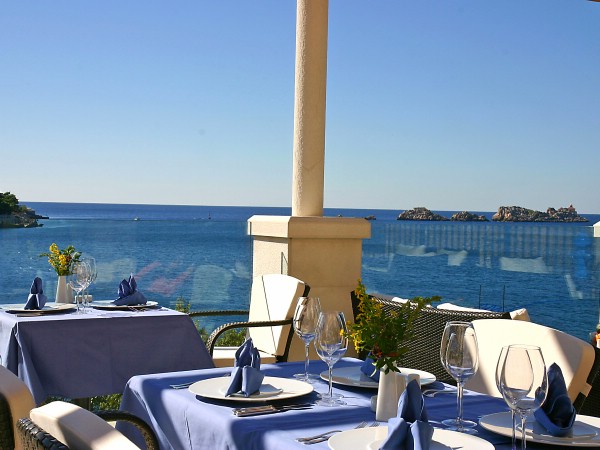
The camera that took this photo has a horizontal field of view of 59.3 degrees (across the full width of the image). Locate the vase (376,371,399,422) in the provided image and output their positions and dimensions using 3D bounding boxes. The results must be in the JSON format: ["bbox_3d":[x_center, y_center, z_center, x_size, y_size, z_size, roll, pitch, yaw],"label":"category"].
[{"bbox_3d":[0.236,0.458,1.441,0.064,0.135,0.071,-1,2,9],"label":"vase"}]

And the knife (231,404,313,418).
[{"bbox_3d":[-0.092,0.516,1.468,0.259,0.028,0.069,-3,1,13],"label":"knife"}]

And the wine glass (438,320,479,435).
[{"bbox_3d":[0.440,0.403,1.462,0.096,0.277,0.267,-1,1,16],"label":"wine glass"}]

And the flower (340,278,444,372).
[{"bbox_3d":[0.213,0.298,1.463,0.202,0.252,0.221,0,-5,-17],"label":"flower"}]

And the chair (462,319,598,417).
[{"bbox_3d":[0.823,0.408,1.876,0.322,0.389,0.398,4,35,29],"label":"chair"}]
